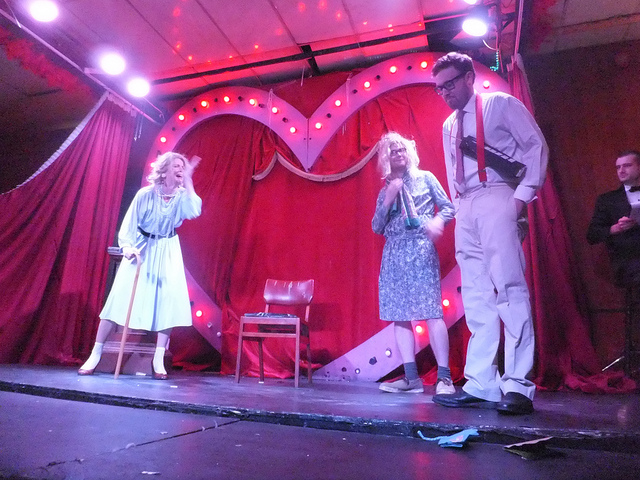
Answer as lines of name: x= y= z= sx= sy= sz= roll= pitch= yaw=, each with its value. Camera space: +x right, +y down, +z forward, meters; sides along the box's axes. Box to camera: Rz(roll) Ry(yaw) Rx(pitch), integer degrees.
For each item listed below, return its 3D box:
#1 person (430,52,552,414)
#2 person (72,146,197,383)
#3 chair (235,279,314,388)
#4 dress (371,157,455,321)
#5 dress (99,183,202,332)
person: x=1.028 y=-0.056 z=2.786 sx=0.636 sy=2.097 sz=0.696 roll=5 pitch=-24 yaw=-5
person: x=-1.622 y=-0.050 z=4.477 sx=0.800 sy=2.913 sz=1.518 roll=15 pitch=-27 yaw=-26
chair: x=-0.356 y=0.820 z=4.079 sx=0.588 sy=1.030 sz=0.723 roll=-3 pitch=-13 yaw=26
dress: x=0.748 y=-0.057 z=3.628 sx=0.650 sy=1.326 sz=0.486 roll=-5 pitch=-25 yaw=17
dress: x=-1.439 y=0.132 z=4.032 sx=0.733 sy=1.289 sz=0.432 roll=13 pitch=-26 yaw=-21
